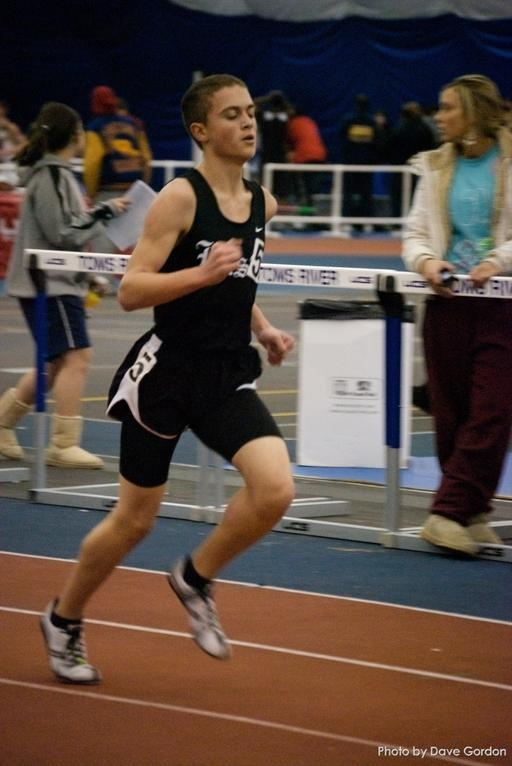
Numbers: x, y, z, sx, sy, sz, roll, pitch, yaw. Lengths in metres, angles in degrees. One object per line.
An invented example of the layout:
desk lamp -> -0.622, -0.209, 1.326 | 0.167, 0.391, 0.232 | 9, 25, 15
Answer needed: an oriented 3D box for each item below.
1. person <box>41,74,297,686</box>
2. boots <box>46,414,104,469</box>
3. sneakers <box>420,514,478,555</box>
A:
person -> -0.217, -0.021, 2.005 | 0.680, 1.703, 0.530 | 0, -3, 30
boots -> -1.121, 0.377, 4.738 | 0.399, 0.311, 0.187 | 6, 1, 26
sneakers -> 0.931, 0.742, 3.701 | 0.278, 0.120, 0.127 | 10, -6, 34
